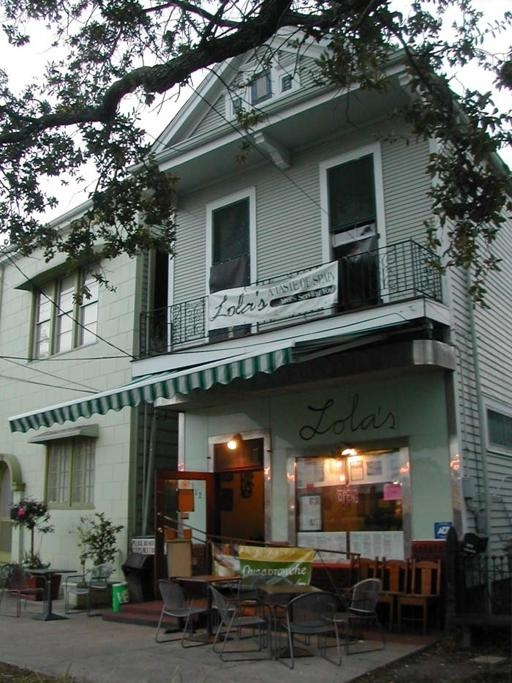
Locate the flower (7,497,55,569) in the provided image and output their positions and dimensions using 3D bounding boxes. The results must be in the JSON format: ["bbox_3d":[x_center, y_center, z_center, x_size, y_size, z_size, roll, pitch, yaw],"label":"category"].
[{"bbox_3d":[-4.660,3.962,15.561,0.821,1.337,2.000,3,-13,-15],"label":"flower"}]

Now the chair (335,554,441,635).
[{"bbox_3d":[1.699,3.180,9.336,0.378,0.721,1.034,24,-32,-38],"label":"chair"}]

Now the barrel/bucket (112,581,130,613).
[{"bbox_3d":[-2.176,4.079,11.949,0.208,0.373,0.444,2,-13,-12],"label":"barrel/bucket"}]
